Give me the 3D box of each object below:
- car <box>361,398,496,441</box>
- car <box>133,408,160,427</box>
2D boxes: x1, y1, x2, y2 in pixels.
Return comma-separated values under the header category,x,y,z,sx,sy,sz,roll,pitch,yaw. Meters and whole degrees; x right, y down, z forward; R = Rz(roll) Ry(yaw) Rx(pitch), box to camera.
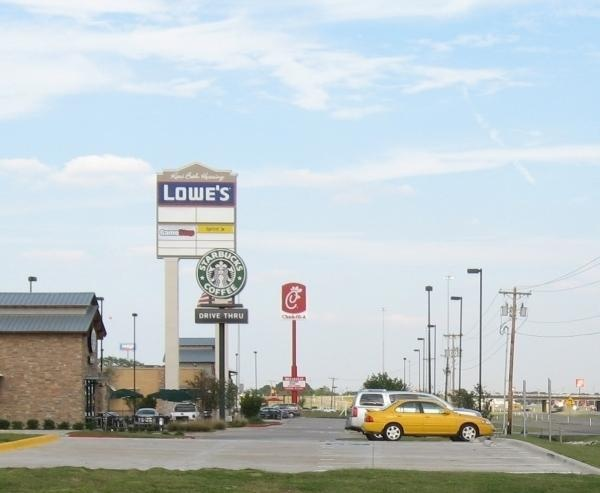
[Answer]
category,x,y,z,sx,sy,sz,roll,pitch,yaw
car,5.937,8.460,76.321,5.685,1.574,2.316,-2,-2,-4
car,-9.106,10.230,95.181,0.967,0.679,1.961,1,1,-2
